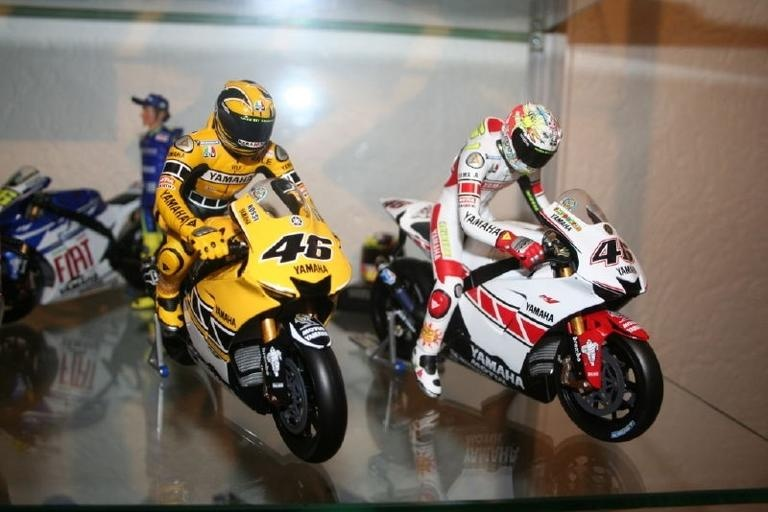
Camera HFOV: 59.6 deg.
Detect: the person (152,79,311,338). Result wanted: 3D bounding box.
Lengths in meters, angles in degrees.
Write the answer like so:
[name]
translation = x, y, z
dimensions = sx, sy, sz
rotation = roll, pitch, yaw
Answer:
[person]
translation = -1.140, -0.330, 4.914
dimensions = 1.122, 1.903, 1.199
rotation = -3, 23, -37
